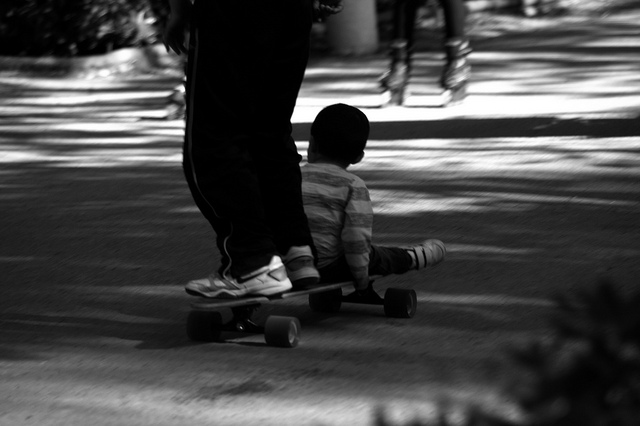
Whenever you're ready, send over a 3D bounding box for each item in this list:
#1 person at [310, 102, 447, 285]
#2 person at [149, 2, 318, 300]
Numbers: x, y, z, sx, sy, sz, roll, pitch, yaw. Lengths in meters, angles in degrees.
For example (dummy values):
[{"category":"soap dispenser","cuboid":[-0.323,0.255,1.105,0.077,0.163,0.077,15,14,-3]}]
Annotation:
[{"category":"person","cuboid":[0.325,-0.046,3.059,0.779,1.139,0.891,1,29,-1]},{"category":"person","cuboid":[-0.342,-0.305,2.580,0.703,1.377,0.890,-3,30,-7]}]
